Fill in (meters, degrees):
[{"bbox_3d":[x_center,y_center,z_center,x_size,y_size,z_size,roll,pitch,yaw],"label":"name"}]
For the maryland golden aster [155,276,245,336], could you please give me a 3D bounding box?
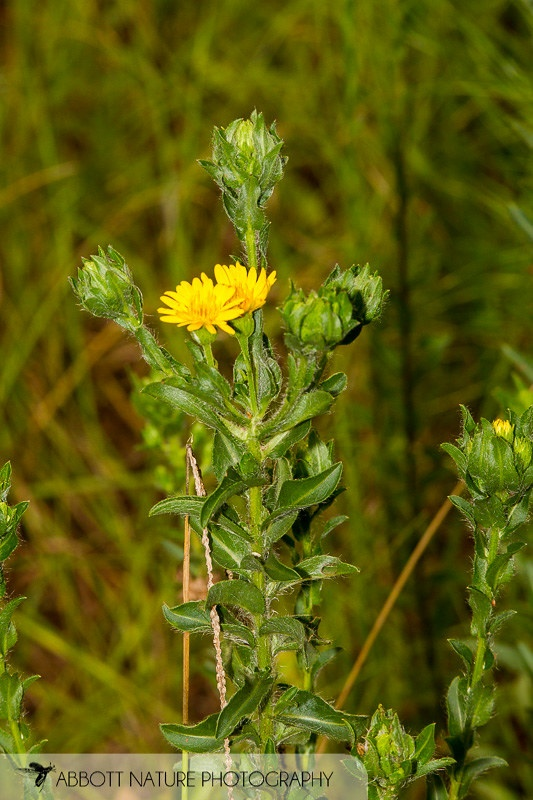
[{"bbox_3d":[-0.073,-0.096,0.946,0.074,0.030,0.072,-7,10,39],"label":"maryland golden aster"}]
